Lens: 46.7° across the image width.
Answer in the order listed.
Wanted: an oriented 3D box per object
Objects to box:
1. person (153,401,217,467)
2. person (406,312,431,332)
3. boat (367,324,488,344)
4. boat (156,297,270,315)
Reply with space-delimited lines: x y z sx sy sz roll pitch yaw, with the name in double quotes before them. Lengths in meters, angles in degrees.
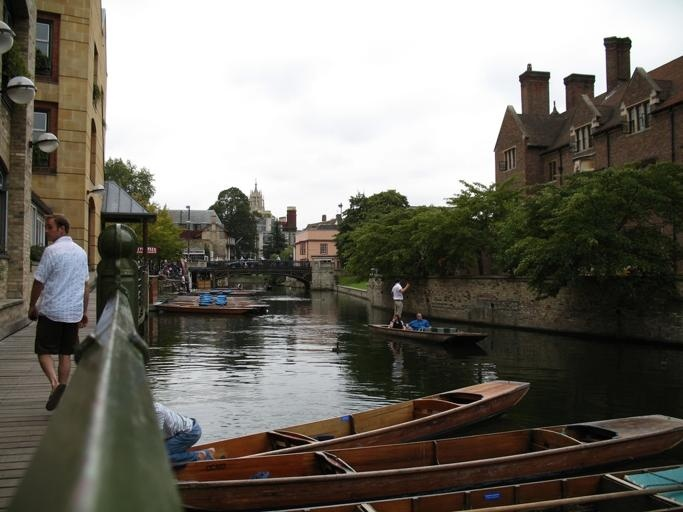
"person" -2.278 2.533 11.183 0.348 0.932 0.801 3 4 29
"person" 2.598 2.256 26.738 0.829 0.422 1.000 0 -1 0
"boat" 2.645 2.600 26.129 1.109 0.316 4.080 1 -3 -30
"boat" -6.251 2.408 39.369 4.780 0.758 5.836 1 3 -2
